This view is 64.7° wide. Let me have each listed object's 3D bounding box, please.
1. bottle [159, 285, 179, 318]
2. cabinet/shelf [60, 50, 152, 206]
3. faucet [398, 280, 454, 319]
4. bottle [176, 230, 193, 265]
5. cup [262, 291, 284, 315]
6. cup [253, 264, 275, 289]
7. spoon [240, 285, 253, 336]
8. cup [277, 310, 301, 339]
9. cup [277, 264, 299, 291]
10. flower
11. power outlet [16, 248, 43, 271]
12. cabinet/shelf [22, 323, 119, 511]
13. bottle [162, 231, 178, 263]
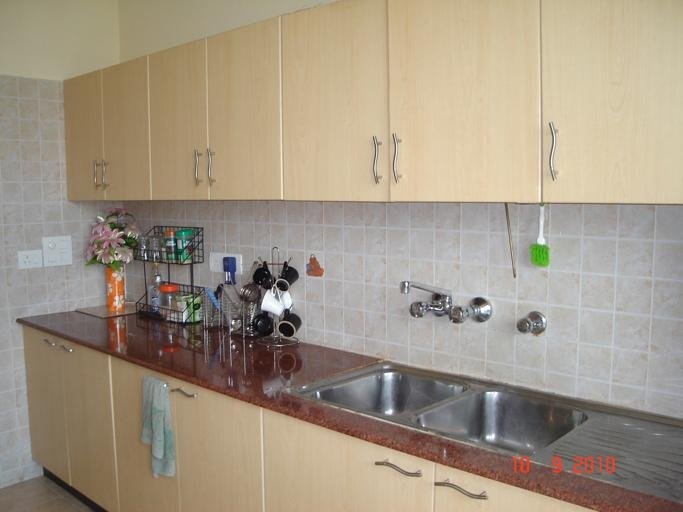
[{"bbox_3d":[-1.050,0.283,3.411,0.120,0.206,0.244,-4,10,-16],"label":"bottle"},{"bbox_3d":[-1.322,-0.709,3.407,0.858,0.832,0.336,6,7,35],"label":"cabinet/shelf"},{"bbox_3d":[0.391,0.192,2.397,0.217,0.199,0.229,1,10,12],"label":"faucet"},{"bbox_3d":[-0.952,-0.058,3.389,0.125,0.209,0.127,-1,10,0],"label":"bottle"},{"bbox_3d":[-0.363,0.258,2.941,0.105,0.161,0.134,-5,11,-25],"label":"cup"},{"bbox_3d":[-0.402,0.121,3.013,0.099,0.143,0.140,11,17,-2],"label":"cup"},{"bbox_3d":[-0.504,0.311,3.076,0.100,0.297,0.093,2,-2,-35],"label":"spoon"},{"bbox_3d":[-0.247,0.355,2.872,0.106,0.114,0.177,1,10,8],"label":"cup"},{"bbox_3d":[-0.268,0.110,2.902,0.098,0.141,0.114,5,11,30],"label":"cup"},{"bbox_3d":[-1.523,-0.108,3.686,0.336,0.395,0.425,-6,11,-26],"label":"flower"},{"bbox_3d":[-1.981,0.019,3.497,0.119,0.108,0.010,-14,15,-42],"label":"power outlet"},{"bbox_3d":[-1.511,0.917,3.128,0.488,0.954,0.934,-2,5,-44],"label":"cabinet/shelf"},{"bbox_3d":[-1.053,-0.060,3.428,0.077,0.173,0.156,-4,10,-16],"label":"bottle"}]
